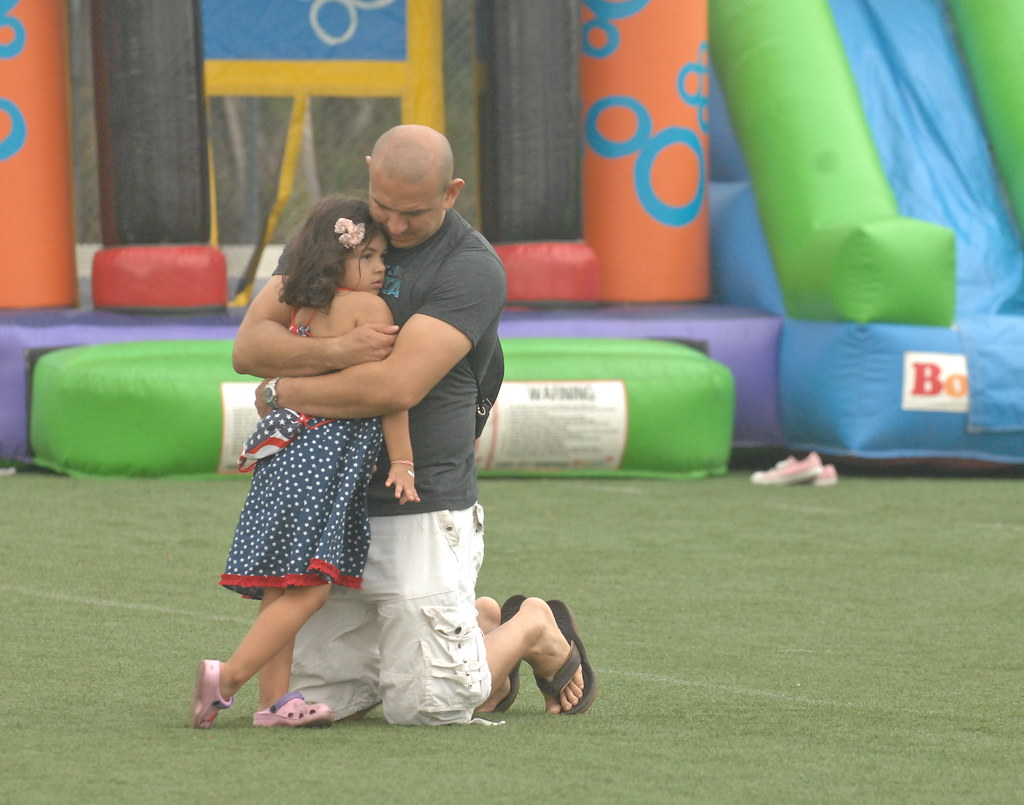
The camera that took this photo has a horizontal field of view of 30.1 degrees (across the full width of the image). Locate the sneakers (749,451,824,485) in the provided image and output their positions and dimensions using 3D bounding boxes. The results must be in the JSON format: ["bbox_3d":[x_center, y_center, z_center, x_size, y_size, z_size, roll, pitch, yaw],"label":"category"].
[{"bbox_3d":[1.167,0.280,7.909,0.331,0.138,0.122,-6,2,20],"label":"sneakers"}]

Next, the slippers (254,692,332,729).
[{"bbox_3d":[-0.582,0.815,5.021,0.167,0.076,0.088,-2,3,1],"label":"slippers"}]

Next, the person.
[{"bbox_3d":[-0.267,0.072,5.086,0.973,1.602,0.409,-1,7,0],"label":"person"}]

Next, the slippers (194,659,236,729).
[{"bbox_3d":[-0.802,0.767,5.031,0.078,0.207,0.073,0,31,-14],"label":"slippers"}]

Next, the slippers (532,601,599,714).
[{"bbox_3d":[0.158,0.719,5.300,0.127,0.334,0.089,-22,-5,36],"label":"slippers"}]
